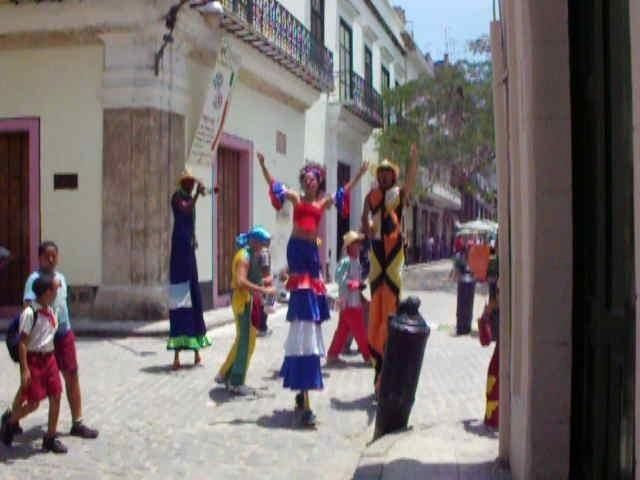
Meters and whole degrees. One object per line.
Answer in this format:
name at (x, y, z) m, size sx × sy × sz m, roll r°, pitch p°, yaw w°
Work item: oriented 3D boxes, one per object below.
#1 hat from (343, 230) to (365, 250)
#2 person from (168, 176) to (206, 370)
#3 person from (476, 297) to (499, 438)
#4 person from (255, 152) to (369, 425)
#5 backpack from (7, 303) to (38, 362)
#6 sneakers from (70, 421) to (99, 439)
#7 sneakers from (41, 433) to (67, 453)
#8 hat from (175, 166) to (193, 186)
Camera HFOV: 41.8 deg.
hat at (0.382, -0.013, 9.835) m, size 0.199 × 0.080 × 0.179 m, roll -46°, pitch -1°, yaw 35°
person at (-1.565, 0.352, 9.710) m, size 0.489 × 2.179 × 0.452 m, roll -2°, pitch 4°, yaw -16°
person at (1.517, 1.048, 7.557) m, size 0.176 × 1.013 × 1.791 m, roll 0°, pitch 6°, yaw 12°
person at (-0.093, 0.477, 7.946) m, size 0.850 × 2.375 × 1.074 m, roll -2°, pitch 4°, yaw -5°
backpack at (-2.544, 0.803, 7.007) m, size 0.349 × 0.516 × 0.221 m, roll 2°, pitch 5°, yaw 39°
sneakers at (-2.091, 1.676, 7.467) m, size 0.265 × 0.241 × 0.120 m, roll 2°, pitch -1°, yaw -6°
sneakers at (-2.261, 1.714, 7.110) m, size 0.258 × 0.151 × 0.099 m, roll -3°, pitch -5°, yaw 42°
hat at (-1.565, -0.702, 9.690) m, size 0.172 × 0.241 × 0.322 m, roll -2°, pitch 5°, yaw -11°
